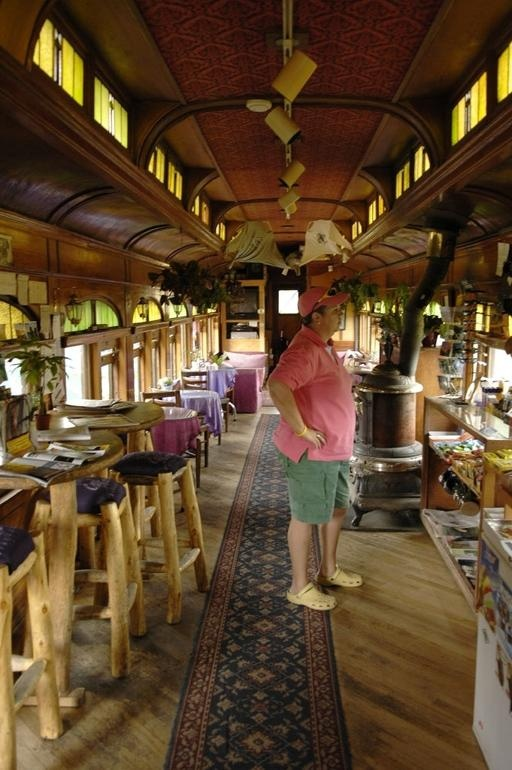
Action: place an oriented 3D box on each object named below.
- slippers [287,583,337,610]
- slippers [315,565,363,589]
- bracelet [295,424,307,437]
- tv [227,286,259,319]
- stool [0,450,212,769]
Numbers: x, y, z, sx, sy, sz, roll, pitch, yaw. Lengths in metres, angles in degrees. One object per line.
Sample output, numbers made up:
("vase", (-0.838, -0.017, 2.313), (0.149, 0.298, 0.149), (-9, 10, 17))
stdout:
("slippers", (0.326, 1.233, 2.991), (0.229, 0.108, 0.141), (2, 3, 16))
("slippers", (0.528, 1.223, 3.229), (0.256, 0.107, 0.124), (-2, 2, 1))
("bracelet", (0.219, 0.235, 2.612), (0.013, 0.054, 0.054), (25, 30, -2))
("tv", (-0.363, -1.989, 12.555), (1.016, 0.921, 0.526), (0, -4, -1))
("stool", (-0.543, 0.923, 2.468), (1.015, 1.243, 0.926), (-1, 3, -2))
